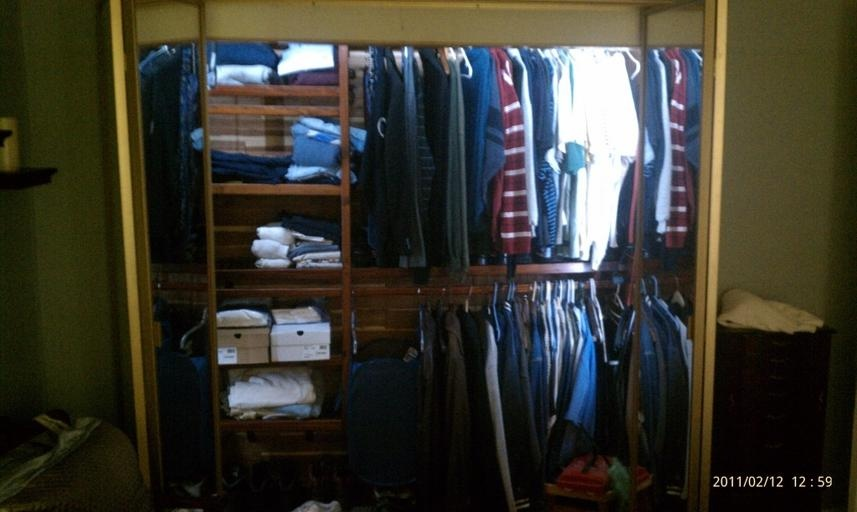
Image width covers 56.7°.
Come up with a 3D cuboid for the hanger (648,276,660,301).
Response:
[{"bbox_3d":[1.141,0.163,4.035,0.008,0.128,0.077,-6,7,-44],"label":"hanger"}]
